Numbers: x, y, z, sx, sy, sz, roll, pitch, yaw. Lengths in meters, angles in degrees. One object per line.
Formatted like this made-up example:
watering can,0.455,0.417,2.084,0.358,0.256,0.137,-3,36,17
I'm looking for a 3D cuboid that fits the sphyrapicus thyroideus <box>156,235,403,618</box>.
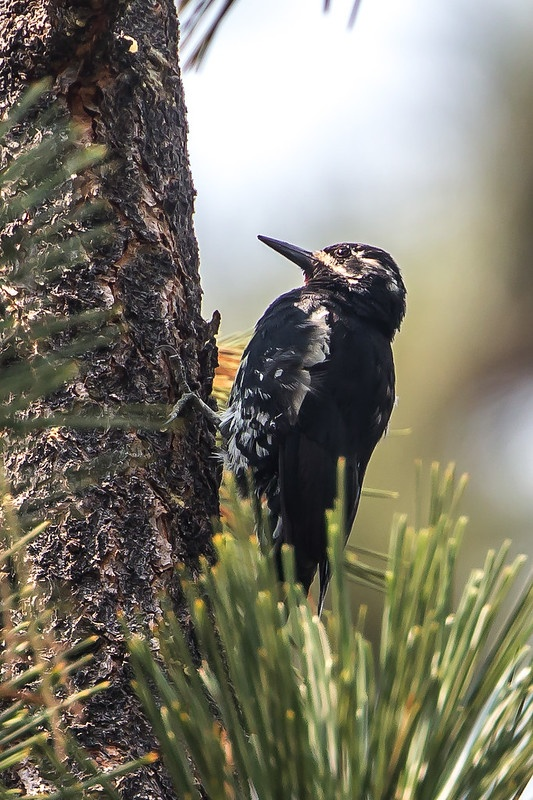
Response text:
sphyrapicus thyroideus,0.102,0.003,2.962,0.349,0.736,0.652,10,7,5
